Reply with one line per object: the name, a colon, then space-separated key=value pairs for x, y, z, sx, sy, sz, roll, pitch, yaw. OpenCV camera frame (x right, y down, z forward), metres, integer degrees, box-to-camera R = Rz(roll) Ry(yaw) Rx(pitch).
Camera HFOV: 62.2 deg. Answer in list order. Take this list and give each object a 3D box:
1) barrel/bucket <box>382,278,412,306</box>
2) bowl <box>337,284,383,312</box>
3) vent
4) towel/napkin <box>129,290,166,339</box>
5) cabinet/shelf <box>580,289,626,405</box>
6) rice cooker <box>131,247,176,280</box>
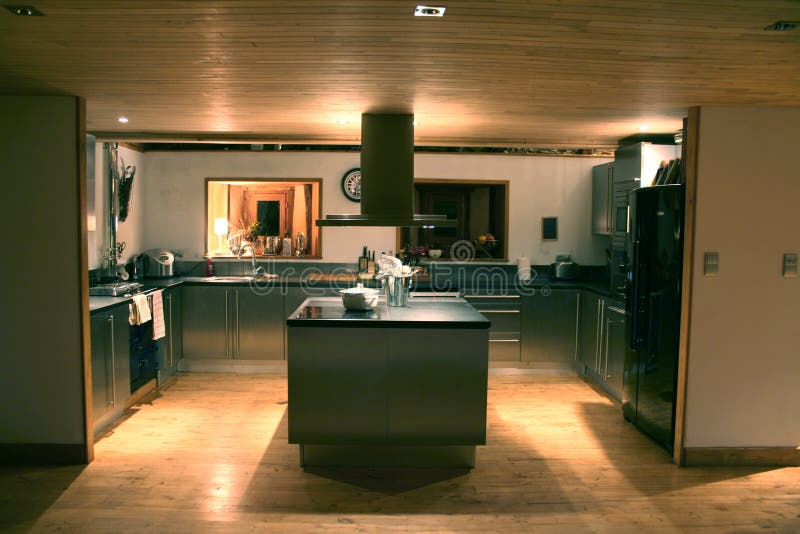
barrel/bucket: x=0.013 y=0.188 z=5.675 sx=0.295 sy=0.244 sz=0.194 roll=-8 pitch=15 yaw=-35
bowl: x=-0.318 y=0.255 z=5.537 sx=0.301 sy=0.172 sz=0.400 roll=0 pitch=12 yaw=1
vent: x=0.005 y=-0.893 z=5.870 sx=1.127 sy=1.025 sz=1.269 roll=2 pitch=-1 yaw=-3
towel/napkin: x=-2.431 y=0.454 z=6.365 sx=0.088 sy=0.452 sz=0.509 roll=2 pitch=1 yaw=11
cabinet/shelf: x=2.119 y=0.828 z=6.856 sx=0.233 sy=0.789 sz=1.166 roll=1 pitch=1 yaw=-1
rice cooker: x=-2.826 y=-0.030 z=7.642 sx=0.509 sy=0.348 sz=0.300 roll=1 pitch=4 yaw=4
